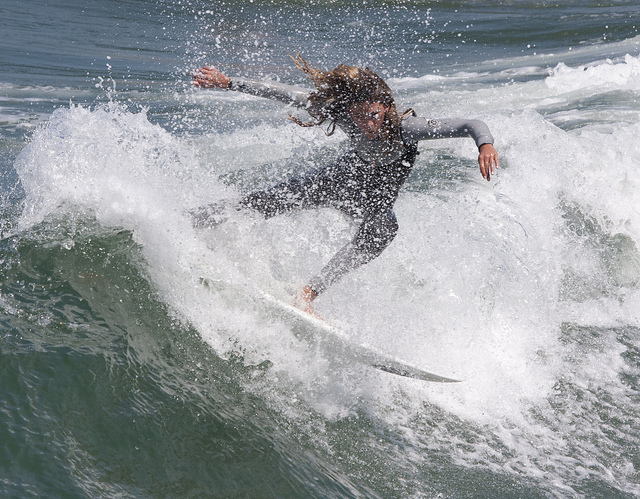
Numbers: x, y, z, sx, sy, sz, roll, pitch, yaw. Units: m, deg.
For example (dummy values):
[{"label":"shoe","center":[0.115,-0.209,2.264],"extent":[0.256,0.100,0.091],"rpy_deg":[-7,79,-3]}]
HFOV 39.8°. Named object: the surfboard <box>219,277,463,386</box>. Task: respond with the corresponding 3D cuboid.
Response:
[{"label":"surfboard","center":[0.161,0.956,9.597],"extent":[2.151,0.234,0.307],"rpy_deg":[26,77,1]}]
